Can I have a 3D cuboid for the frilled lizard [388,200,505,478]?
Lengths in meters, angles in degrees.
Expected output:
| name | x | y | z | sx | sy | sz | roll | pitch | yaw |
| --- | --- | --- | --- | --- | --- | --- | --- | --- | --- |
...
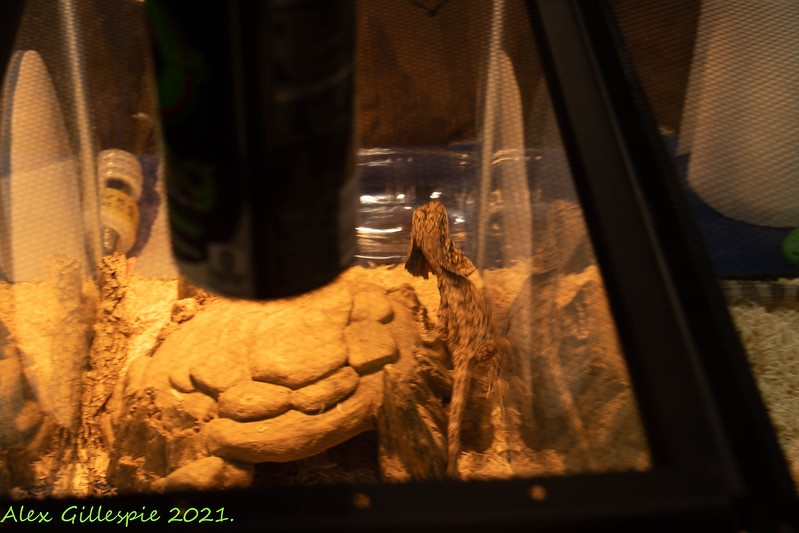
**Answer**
| name | x | y | z | sx | sy | sz | roll | pitch | yaw |
| --- | --- | --- | --- | --- | --- | --- | --- | --- | --- |
| frilled lizard | 0.030 | 0.094 | 1.002 | 0.108 | 0.107 | 0.322 | -4 | 63 | -7 |
